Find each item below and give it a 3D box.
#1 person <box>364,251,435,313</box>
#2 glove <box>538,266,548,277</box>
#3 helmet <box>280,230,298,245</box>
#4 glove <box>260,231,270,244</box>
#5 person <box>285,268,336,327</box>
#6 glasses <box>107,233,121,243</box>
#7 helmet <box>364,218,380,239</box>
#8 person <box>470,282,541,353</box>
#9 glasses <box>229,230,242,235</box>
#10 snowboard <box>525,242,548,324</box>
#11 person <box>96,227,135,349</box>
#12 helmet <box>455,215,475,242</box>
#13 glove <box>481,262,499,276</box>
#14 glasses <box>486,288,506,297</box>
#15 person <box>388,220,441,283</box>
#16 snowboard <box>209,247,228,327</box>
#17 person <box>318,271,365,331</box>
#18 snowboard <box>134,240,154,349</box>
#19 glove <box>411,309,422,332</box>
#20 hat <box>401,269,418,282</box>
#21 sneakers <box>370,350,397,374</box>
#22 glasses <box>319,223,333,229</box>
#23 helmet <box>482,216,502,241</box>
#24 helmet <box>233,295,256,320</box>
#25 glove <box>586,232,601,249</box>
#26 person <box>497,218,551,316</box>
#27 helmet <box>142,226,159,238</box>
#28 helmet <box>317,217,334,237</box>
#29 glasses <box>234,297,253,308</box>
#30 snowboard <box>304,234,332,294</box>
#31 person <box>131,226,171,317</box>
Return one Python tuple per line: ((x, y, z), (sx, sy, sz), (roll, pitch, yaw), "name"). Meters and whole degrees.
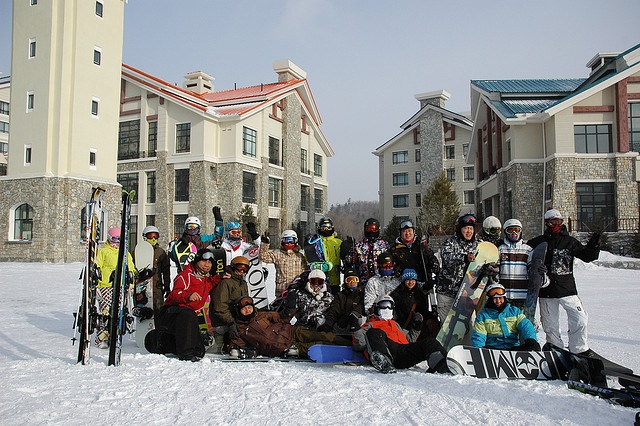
((1.477, 1.749, 12.693), (1.070, 1.661, 0.837), (-1, -3, -20), "person")
((4.758, 1.258, 11.808), (0.167, 0.064, 0.172), (29, 44, 12), "glove")
((-0.820, 0.685, 14.152), (0.297, 0.361, 0.376), (0, -31, -3), "helmet")
((-1.420, 0.651, 14.161), (0.205, 0.301, 0.091), (11, -12, -5), "glove")
((-0.180, 2.085, 13.211), (1.143, 1.552, 0.638), (8, -33, -5), "person")
((-4.926, 0.636, 13.086), (0.213, 0.188, 0.289), (0, -15, -24), "glasses")
((1.310, 0.428, 14.005), (0.369, 0.473, 0.470), (-1, -14, 6), "helmet")
((3.813, 2.278, 11.500), (1.198, 1.584, 1.178), (-11, -16, 21), "person")
((-2.346, 0.540, 14.918), (0.322, 0.184, 0.172), (-4, 11, -22), "glasses")
((4.731, 1.485, 12.022), (0.360, 1.880, 0.205), (8, -4, 44), "snowboard")
((-4.933, 1.747, 13.037), (0.846, 2.693, 0.819), (2, 18, -21), "person")
((3.289, 0.352, 12.716), (0.409, 0.588, 0.583), (3, 12, 6), "helmet")
((3.688, 1.223, 11.945), (0.268, 0.117, 0.281), (4, 11, 6), "glove")
((3.665, 1.658, 11.503), (0.346, 0.183, 0.116), (2, 10, 9), "glasses")
((2.192, 1.099, 13.300), (1.217, 1.774, 0.908), (-10, 24, 16), "person")
((-2.491, 1.784, 13.415), (0.495, 1.812, 0.391), (3, -6, -14), "snowboard")
((0.550, 2.136, 12.791), (0.945, 1.591, 1.416), (1, 4, 27), "person")
((-4.149, 1.952, 13.050), (0.536, 2.496, 0.363), (-4, -21, -1), "snowboard")
((2.115, 2.420, 12.267), (0.237, 0.338, 0.347), (2, -3, -4), "glove")
((2.003, 1.415, 12.396), (0.251, 0.190, 0.260), (4, -7, -20), "hat")
((1.251, 3.080, 11.353), (0.625, 0.278, 0.298), (38, -1, 28), "sneakers")
((0.135, 0.324, 14.423), (0.346, 0.150, 0.231), (-1, 10, -4), "glasses")
((3.981, 0.412, 12.839), (0.392, 0.583, 0.548), (2, -5, -24), "helmet")
((-1.736, 2.180, 12.485), (0.424, 0.549, 0.527), (-1, 14, -9), "helmet")
((5.927, 0.569, 11.960), (0.268, 0.392, 0.417), (5, 11, 26), "glove")
((4.484, 1.286, 12.321), (0.641, 2.587, 0.369), (-7, -11, 34), "person")
((-4.326, 0.479, 13.933), (0.290, 0.317, 0.369), (0, -3, -31), "helmet")
((0.120, 0.381, 14.548), (0.355, 0.487, 0.488), (0, -11, 0), "helmet")
((-1.761, 2.065, 12.495), (0.220, 0.121, 0.287), (5, -34, -25), "glasses")
((-0.121, 1.232, 14.266), (0.532, 1.334, 0.432), (-1, -32, -9), "snowboard")
((-4.063, 1.619, 13.320), (0.651, 2.647, 0.375), (0, 1, 23), "person")
